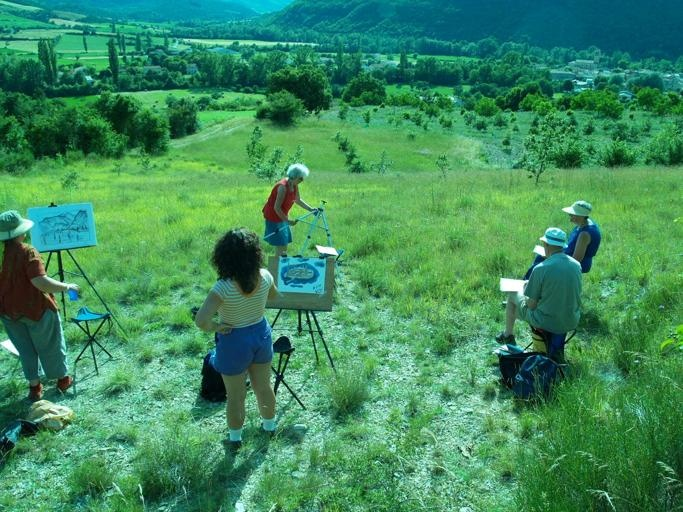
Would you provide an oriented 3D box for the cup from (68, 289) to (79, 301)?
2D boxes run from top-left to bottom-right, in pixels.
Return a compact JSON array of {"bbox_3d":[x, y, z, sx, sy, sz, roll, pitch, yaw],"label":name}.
[{"bbox_3d":[-5.844,0.856,17.372,0.225,0.271,0.222,-4,-24,-2],"label":"cup"}]

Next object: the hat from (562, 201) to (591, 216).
[{"bbox_3d":[5.529,-1.076,18.635,0.581,0.348,0.489,9,6,0],"label":"hat"}]

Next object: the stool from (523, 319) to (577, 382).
[{"bbox_3d":[4.513,1.964,17.156,0.939,1.229,0.877,-6,17,-37],"label":"stool"}]

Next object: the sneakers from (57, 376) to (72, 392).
[{"bbox_3d":[-5.912,2.733,16.999,0.152,0.169,0.397,9,50,10],"label":"sneakers"}]

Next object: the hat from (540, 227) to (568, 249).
[{"bbox_3d":[4.594,-0.375,17.232,0.485,0.256,0.478,22,28,25],"label":"hat"}]

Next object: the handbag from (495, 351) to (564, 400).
[{"bbox_3d":[3.943,2.470,16.577,0.969,0.887,1.137,11,-15,1],"label":"handbag"}]

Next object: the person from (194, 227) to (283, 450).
[{"bbox_3d":[-1.947,1.650,15.587,1.319,4.071,0.824,-6,17,-9],"label":"person"}]

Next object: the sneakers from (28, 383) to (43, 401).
[{"bbox_3d":[-6.421,2.880,16.747,0.216,0.394,0.118,7,0,-15],"label":"sneakers"}]
